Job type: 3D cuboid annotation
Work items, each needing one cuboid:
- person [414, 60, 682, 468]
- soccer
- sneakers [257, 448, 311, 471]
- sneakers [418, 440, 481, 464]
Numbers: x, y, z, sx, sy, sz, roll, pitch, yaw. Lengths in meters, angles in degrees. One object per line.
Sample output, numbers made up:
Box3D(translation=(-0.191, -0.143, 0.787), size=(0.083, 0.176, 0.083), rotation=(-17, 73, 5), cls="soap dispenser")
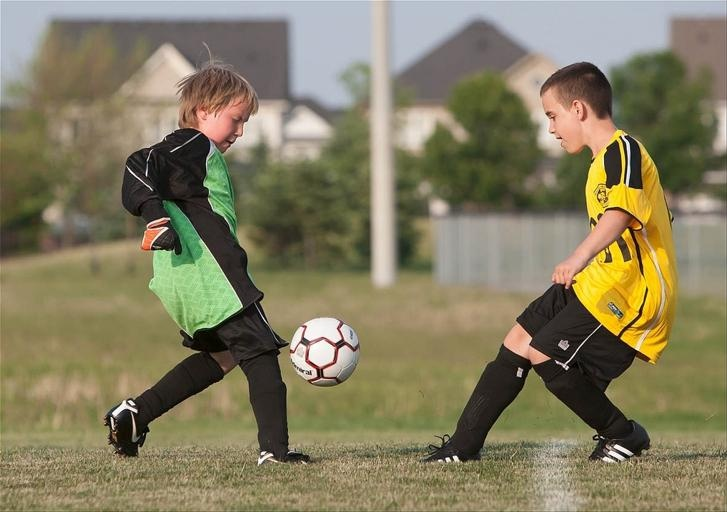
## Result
Box3D(translation=(1.619, 0.070, 11.817), size=(1.496, 3.018, 0.800), rotation=(1, 9, 10), cls="person")
Box3D(translation=(-0.314, 0.759, 12.071), size=(0.541, 0.490, 0.515), rotation=(-1, 4, 5), cls="soccer")
Box3D(translation=(-0.605, 1.540, 11.702), size=(0.409, 0.157, 0.142), rotation=(-1, -3, 6), cls="sneakers")
Box3D(translation=(0.658, 1.512, 11.963), size=(0.512, 0.185, 0.163), rotation=(3, -2, -4), cls="sneakers")
